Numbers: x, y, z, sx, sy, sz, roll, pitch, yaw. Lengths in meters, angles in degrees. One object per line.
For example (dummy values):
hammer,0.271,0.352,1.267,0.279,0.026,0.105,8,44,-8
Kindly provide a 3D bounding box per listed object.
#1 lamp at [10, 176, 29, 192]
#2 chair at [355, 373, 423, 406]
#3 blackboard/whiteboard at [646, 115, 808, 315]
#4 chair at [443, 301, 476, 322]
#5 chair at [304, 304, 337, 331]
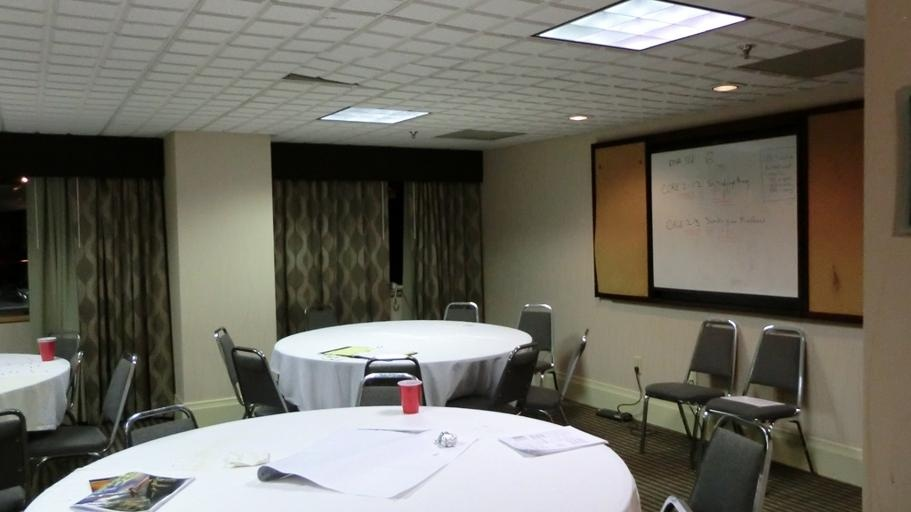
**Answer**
lamp,-5.005,-0.812,6.848,0.218,0.077,0.268,-6,-20,-36
chair,-0.594,1.047,4.748,0.465,0.207,0.350,0,-10,-4
blackboard/whiteboard,2.861,-0.445,6.147,2.233,2.150,0.093,3,5,44
chair,0.081,0.705,7.544,0.296,0.442,0.302,-1,-7,5
chair,-1.702,0.757,7.365,0.325,0.490,0.348,0,-6,-27
